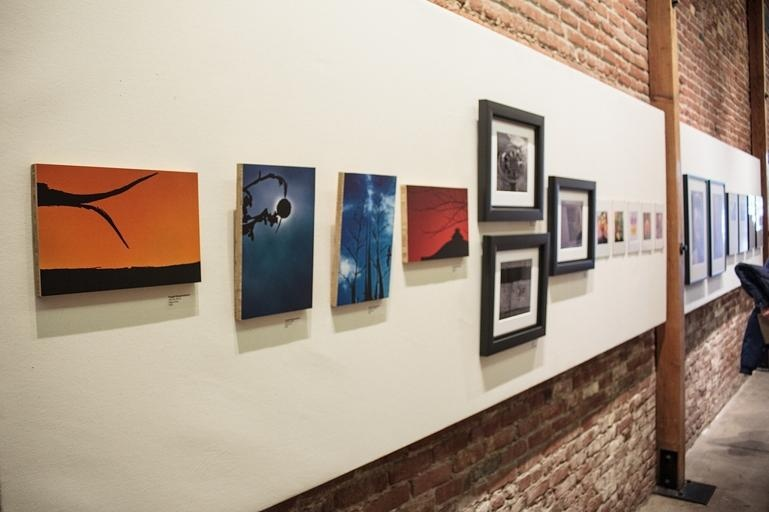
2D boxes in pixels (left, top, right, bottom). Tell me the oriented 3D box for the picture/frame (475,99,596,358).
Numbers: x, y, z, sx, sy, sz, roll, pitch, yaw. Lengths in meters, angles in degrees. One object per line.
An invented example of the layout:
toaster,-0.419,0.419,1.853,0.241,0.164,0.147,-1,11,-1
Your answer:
picture/frame,0.797,-0.164,2.927,0.944,1.227,0.081,-6,6,-43
